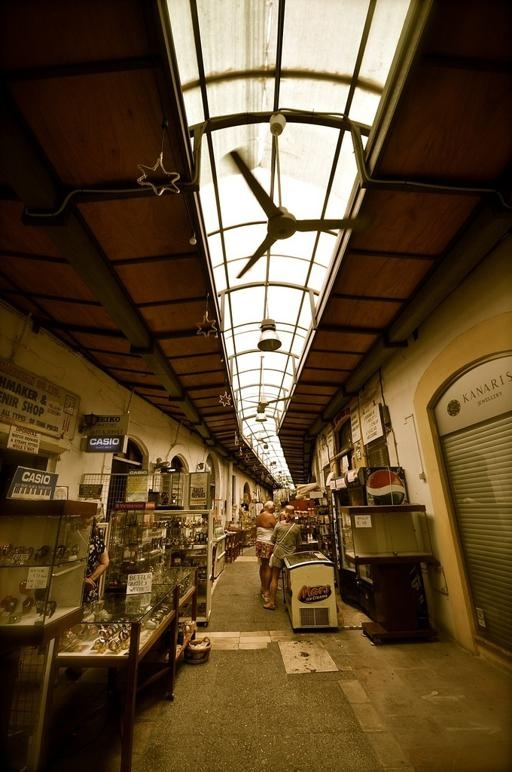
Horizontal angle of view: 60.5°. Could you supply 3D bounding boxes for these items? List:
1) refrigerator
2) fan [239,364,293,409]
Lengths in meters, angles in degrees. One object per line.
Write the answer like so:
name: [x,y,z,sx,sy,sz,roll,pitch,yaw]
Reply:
refrigerator: [0.725,2.623,5.716,0.627,0.860,0.701,-2,-8,7]
fan: [0.217,0.136,13.081,1.064,0.348,1.120,12,-23,-24]
